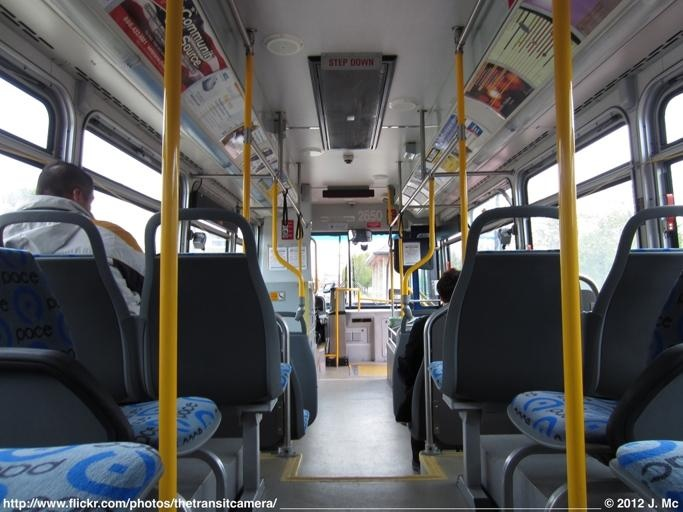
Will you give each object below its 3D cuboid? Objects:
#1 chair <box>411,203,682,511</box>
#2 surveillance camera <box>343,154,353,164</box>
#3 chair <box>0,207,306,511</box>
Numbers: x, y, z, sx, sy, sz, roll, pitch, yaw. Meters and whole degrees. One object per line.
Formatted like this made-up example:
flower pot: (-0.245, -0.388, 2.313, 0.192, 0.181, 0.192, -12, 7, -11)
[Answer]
chair: (0.938, 0.484, 2.249, 1.035, 1.372, 0.583, -6, -8, 34)
surveillance camera: (0.105, -1.410, 7.214, 0.116, 0.125, 0.122, 0, -6, -5)
chair: (-0.663, 0.417, 2.526, 1.124, 1.755, 1.059, -1, -7, 0)
